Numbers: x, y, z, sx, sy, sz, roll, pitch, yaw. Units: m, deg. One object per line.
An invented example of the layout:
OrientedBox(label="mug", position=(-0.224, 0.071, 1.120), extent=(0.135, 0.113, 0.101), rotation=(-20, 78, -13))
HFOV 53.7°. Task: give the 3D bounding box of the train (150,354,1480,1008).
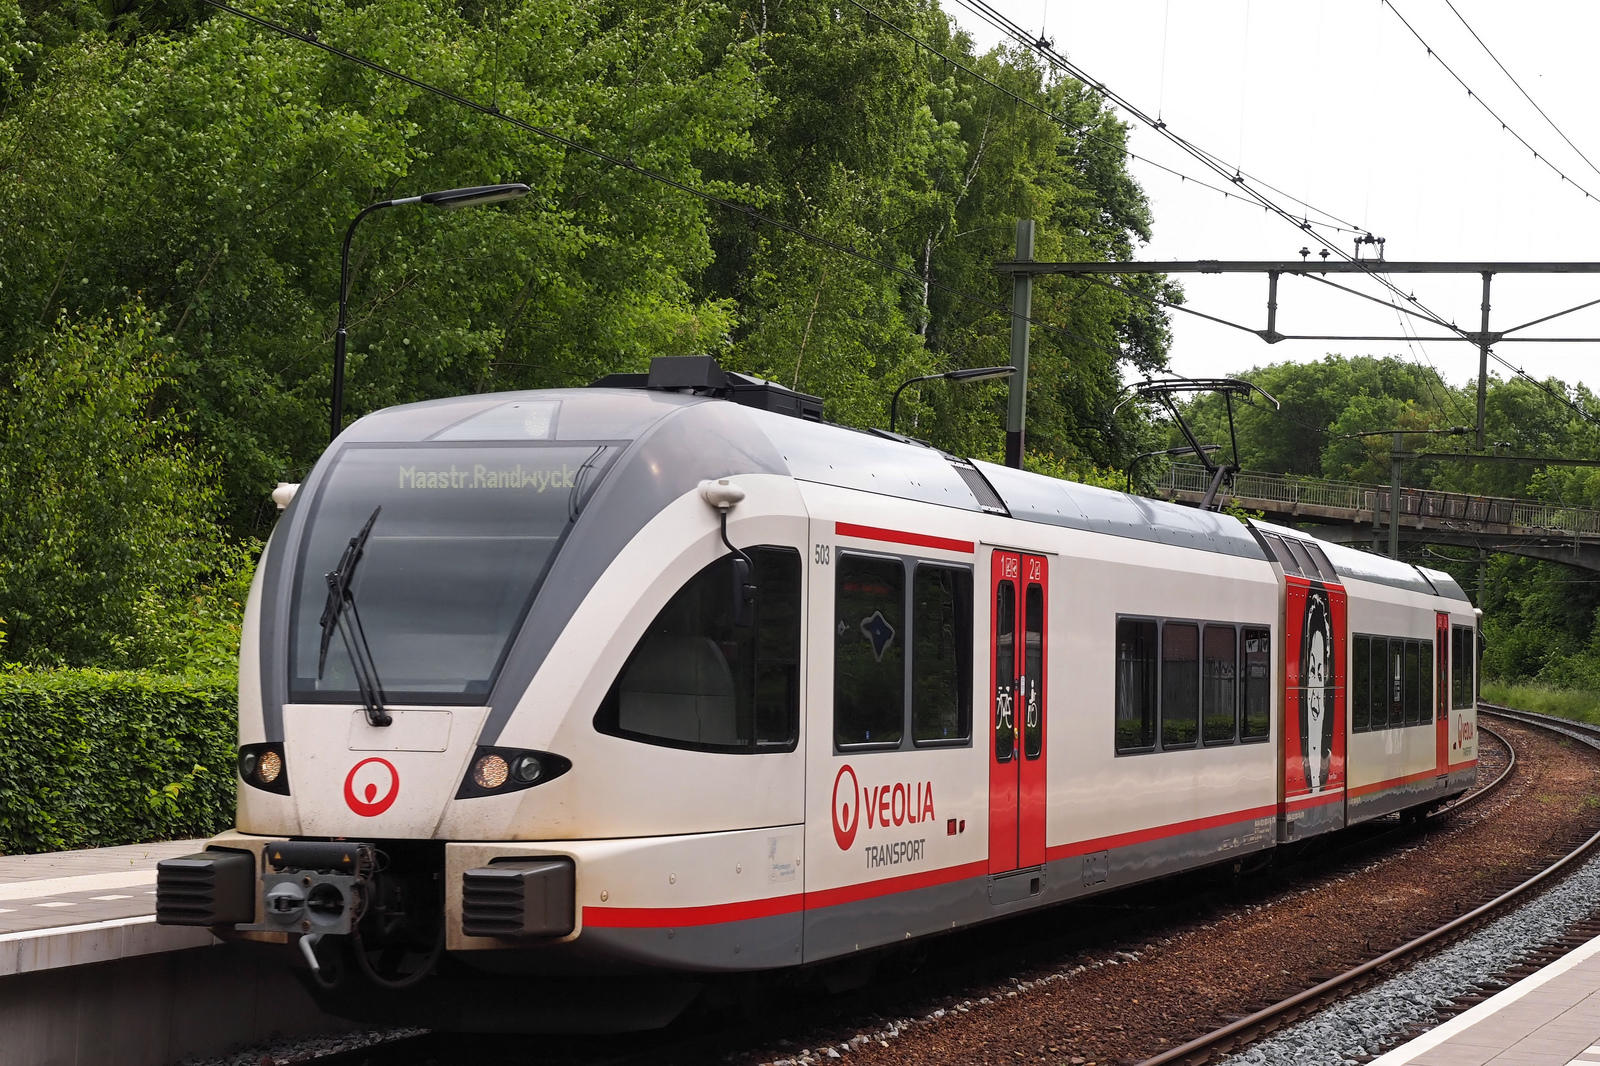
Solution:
OrientedBox(label="train", position=(3.025, 1.786, 18.442), extent=(4.149, 4.541, 20.038), rotation=(-5, -8, 31))
